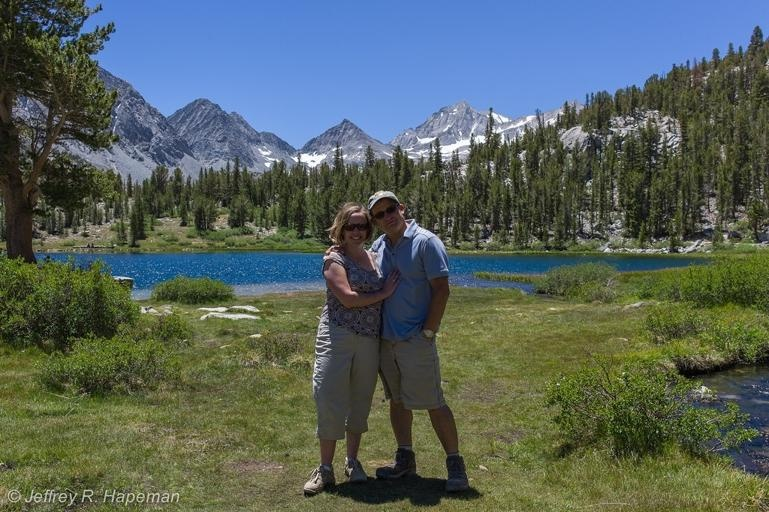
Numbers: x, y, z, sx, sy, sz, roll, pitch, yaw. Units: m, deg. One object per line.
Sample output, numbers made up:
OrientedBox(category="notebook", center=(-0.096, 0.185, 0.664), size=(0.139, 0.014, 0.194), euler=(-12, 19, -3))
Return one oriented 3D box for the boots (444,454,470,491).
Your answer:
OrientedBox(category="boots", center=(1.667, 5.044, 15.734), size=(0.493, 0.671, 1.500), euler=(-8, -3, 6))
